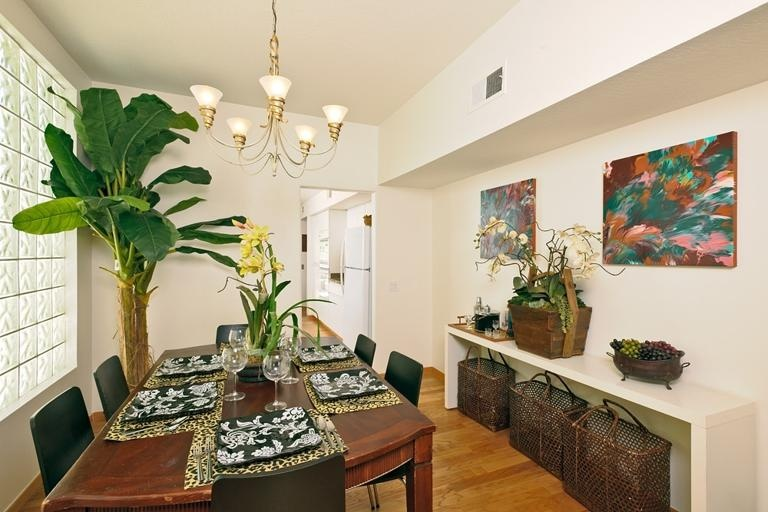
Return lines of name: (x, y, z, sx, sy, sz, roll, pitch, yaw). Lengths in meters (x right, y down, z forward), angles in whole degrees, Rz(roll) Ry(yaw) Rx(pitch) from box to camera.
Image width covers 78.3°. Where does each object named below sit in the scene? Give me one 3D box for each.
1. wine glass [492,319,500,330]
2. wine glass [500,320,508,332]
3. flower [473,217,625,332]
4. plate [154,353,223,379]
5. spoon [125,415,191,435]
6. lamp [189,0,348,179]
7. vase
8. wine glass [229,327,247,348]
wine glass: (1.071, 0.659, 4.473, 0.079, 0.091, 0.079, -3, -4, 25)
wine glass: (1.164, 0.674, 4.557, 0.079, 0.060, 0.063, 0, -2, 15)
flower: (1.375, 0.126, 4.158, 1.148, 0.796, 0.789, 1, 0, -19)
plate: (-1.426, 0.813, 3.482, 0.312, 0.053, 0.296, -1, 4, -13)
spoon: (-1.386, 1.028, 2.863, 0.318, 0.048, 0.061, -2, 11, -21)
lamp: (-0.908, -1.353, 4.309, 1.486, 1.028, 2.283, 2, -1, -18)
vase: (1.385, 0.590, 3.940, 0.460, 0.350, 0.455, 2, -1, -18)
wine glass: (-0.973, 0.539, 3.141, 0.118, 0.117, 0.119, -1, 2, -17)
